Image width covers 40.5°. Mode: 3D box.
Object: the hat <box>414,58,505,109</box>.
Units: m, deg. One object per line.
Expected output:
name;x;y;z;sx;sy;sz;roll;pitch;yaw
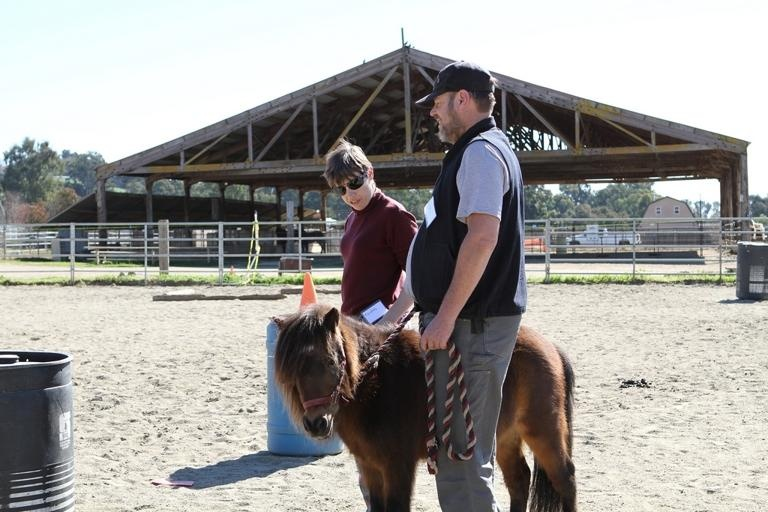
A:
hat;0.766;-1.994;12.061;1.007;0.659;0.701;-3;-3;-8
